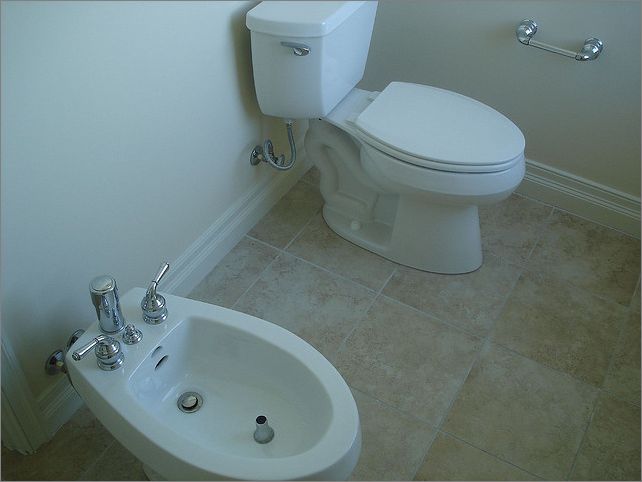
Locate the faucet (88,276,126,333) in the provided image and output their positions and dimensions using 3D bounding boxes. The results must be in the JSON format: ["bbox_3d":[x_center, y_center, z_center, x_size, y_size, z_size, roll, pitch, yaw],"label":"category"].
[{"bbox_3d":[-0.535,0.161,1.333,0.072,0.160,0.066,-26,52,-26],"label":"faucet"}]
